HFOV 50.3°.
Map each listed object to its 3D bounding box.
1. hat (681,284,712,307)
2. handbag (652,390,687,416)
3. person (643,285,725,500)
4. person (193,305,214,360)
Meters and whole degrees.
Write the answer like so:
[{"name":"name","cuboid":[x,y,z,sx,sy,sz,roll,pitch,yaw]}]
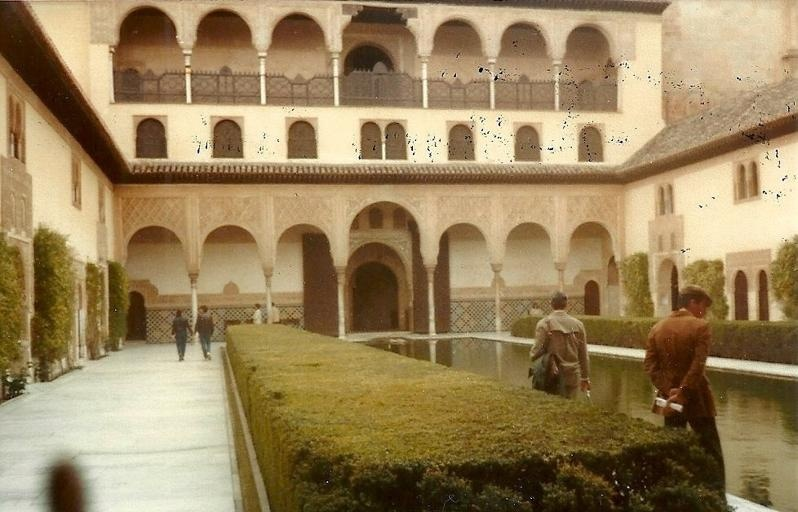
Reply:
[{"name":"hat","cuboid":[3.847,0.535,11.117,0.340,0.312,0.263,-17,6,3]},{"name":"handbag","cuboid":[3.456,1.882,10.859,0.187,0.294,0.424,23,-5,-33]},{"name":"person","cuboid":[3.615,1.487,10.916,0.873,2.167,0.450,-2,-6,16]},{"name":"person","cuboid":[-5.572,2.263,24.255,0.440,1.342,2.186,1,-6,-13]}]
